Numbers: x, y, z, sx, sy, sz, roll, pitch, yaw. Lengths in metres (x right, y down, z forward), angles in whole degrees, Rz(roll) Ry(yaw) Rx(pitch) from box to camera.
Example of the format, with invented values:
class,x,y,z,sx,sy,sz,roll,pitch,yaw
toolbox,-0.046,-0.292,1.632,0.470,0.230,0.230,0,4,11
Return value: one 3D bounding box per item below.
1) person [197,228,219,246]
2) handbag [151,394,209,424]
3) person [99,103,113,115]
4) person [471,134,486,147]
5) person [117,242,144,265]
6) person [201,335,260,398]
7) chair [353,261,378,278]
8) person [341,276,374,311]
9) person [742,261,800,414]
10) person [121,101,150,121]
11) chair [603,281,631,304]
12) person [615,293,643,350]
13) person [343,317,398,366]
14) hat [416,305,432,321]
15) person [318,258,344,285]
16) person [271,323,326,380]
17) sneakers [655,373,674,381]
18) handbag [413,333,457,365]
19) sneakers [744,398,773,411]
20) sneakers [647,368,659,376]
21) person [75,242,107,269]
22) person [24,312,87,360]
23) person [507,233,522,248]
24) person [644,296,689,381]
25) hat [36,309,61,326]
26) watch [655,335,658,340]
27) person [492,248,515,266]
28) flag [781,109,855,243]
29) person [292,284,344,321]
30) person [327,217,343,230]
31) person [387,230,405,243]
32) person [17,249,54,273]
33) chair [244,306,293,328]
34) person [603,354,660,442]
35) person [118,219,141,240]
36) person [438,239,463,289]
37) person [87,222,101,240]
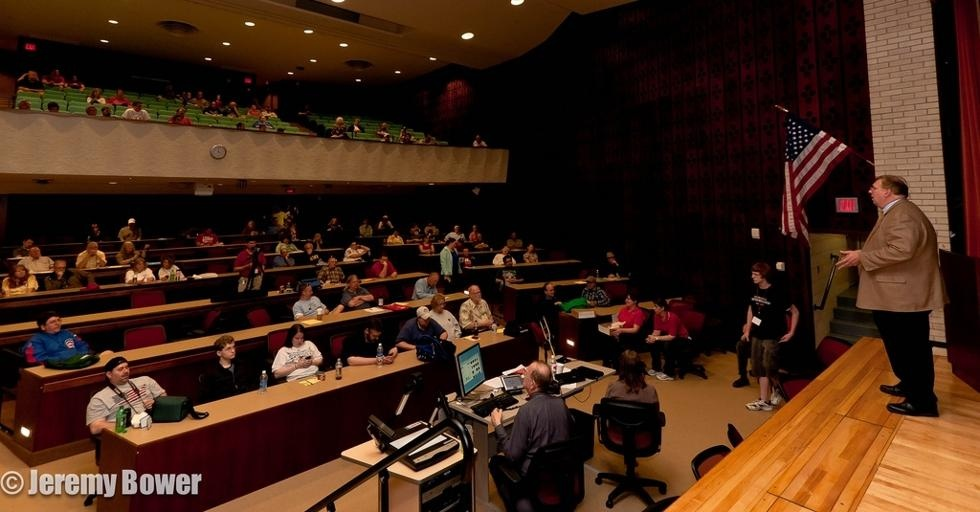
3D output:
class,x,y,z,sx,sy,sz,roll,pitch,yaw
person,-10.033,-0.669,19.844,0.670,0.612,1.581,-7,5,-27
handbag,-6.177,3.017,11.139,0.932,0.340,0.510,1,-3,-12
person,-11.079,-4.169,16.214,0.243,0.443,0.739,-9,6,-33
person,-0.448,-4.579,22.554,0.678,0.290,0.820,-1,3,0
person,-10.989,-0.080,17.184,0.715,0.684,0.376,9,-12,-16
person,-5.734,2.436,12.346,0.787,1.044,1.257,-9,2,22
chair,-4.022,0.428,18.103,0.655,0.537,0.641,4,6,32
person,-3.688,1.056,15.324,0.725,1.025,0.857,7,16,32
person,6.379,1.816,12.950,1.041,3.377,0.853,-11,8,-44
person,-10.445,-4.239,16.523,0.638,0.640,0.749,-7,5,-26
chair,3.844,1.043,17.123,0.803,0.683,0.805,0,3,14
person,3.536,1.707,14.386,0.778,1.533,1.047,-4,5,17
person,-2.764,2.049,13.061,1.205,0.944,1.530,4,1,-40
hat,-1.625,1.374,13.704,0.321,0.222,0.509,-29,17,-29
person,-4.732,0.470,16.642,0.474,0.731,0.898,-3,-2,43
person,-4.380,2.176,12.702,0.800,1.116,1.430,-5,-3,45
sneakers,4.404,3.042,14.291,0.470,0.165,0.160,5,3,17
handbag,-1.213,2.067,12.548,0.831,0.292,0.624,5,12,4
sneakers,6.209,3.422,12.997,0.688,0.240,0.232,1,-2,10
sneakers,4.171,2.985,14.474,0.137,0.101,0.274,-2,3,-44
person,-11.915,-0.008,16.760,0.648,0.985,0.780,20,15,31
person,-9.526,1.818,12.380,1.023,0.984,1.336,3,3,19
person,0.934,-0.627,21.991,0.552,0.646,1.060,-4,4,9
person,4.498,2.092,14.249,1.042,2.014,0.535,-4,6,14
hat,-9.878,1.371,12.554,0.373,0.287,0.274,-23,11,-15
watch,4.153,2.017,14.094,0.052,0.098,0.068,-4,5,14
person,0.416,0.050,19.498,0.648,0.305,0.792,1,-3,-10
flag,7.427,-1.898,13.272,0.916,2.995,1.608,-7,6,-15
person,-4.669,1.213,14.480,1.215,1.066,0.909,-2,10,11
person,-6.431,-1.336,23.200,0.647,0.411,0.933,1,6,-13
person,-3.860,-0.797,22.719,0.454,0.692,0.804,-7,-2,35
person,-12.902,0.149,15.921,0.466,0.616,0.796,-3,1,15
chair,-5.743,1.515,14.442,0.832,0.802,0.705,3,11,14
person,2.987,2.804,11.561,1.222,1.547,1.079,-7,7,26
person,-12.564,-0.914,19.612,0.732,0.740,0.610,-4,5,8
person,-1.323,0.334,18.724,0.829,1.417,0.575,-8,6,-25
person,-14.398,-0.893,20.432,0.467,0.645,0.835,-9,6,-32
